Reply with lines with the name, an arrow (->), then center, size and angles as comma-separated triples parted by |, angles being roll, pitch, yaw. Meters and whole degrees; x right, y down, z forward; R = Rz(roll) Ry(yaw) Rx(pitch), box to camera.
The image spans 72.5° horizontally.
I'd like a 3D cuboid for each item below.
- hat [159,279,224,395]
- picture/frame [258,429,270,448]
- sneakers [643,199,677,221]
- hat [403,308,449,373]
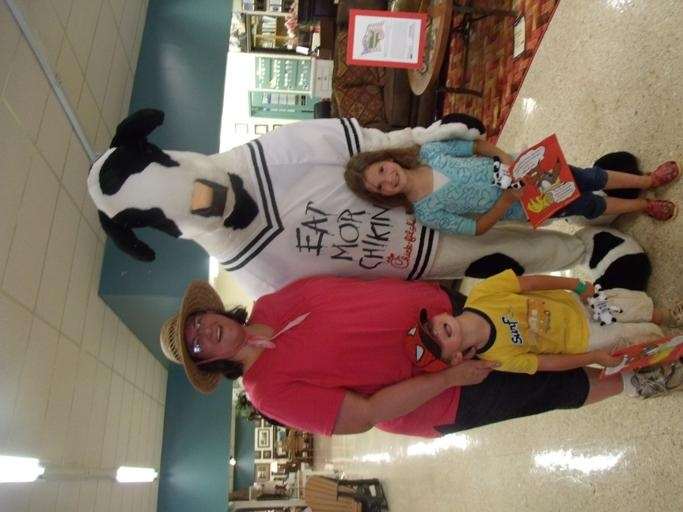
hat -> -0.696, 0.334, 2.118 | 0.171, 0.487, 0.439 | -5, 62, 9
picture/frame -> -1.038, 2.447, 6.281 | 0.196, 0.219, 0.312 | 0, 77, -4
sneakers -> 1.464, -0.218, 2.142 | 0.045, 0.067, 0.118 | -4, 21, -25
hat -> 0.345, 0.396, 1.941 | 0.131, 0.153, 0.195 | -23, 59, -17
